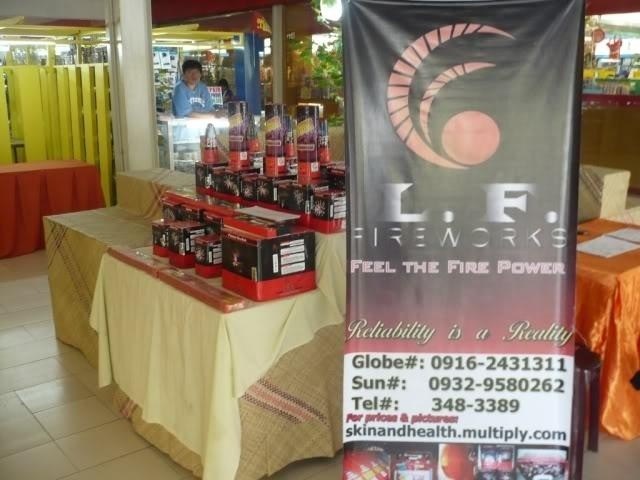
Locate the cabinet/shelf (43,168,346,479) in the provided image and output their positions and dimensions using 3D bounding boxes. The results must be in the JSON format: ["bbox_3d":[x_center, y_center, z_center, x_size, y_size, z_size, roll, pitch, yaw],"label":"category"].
[{"bbox_3d":[-0.837,0.579,3.764,2.226,1.159,1.439,22,30,40],"label":"cabinet/shelf"}]

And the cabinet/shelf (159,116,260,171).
[{"bbox_3d":[-1.351,-1.015,6.025,0.697,0.609,0.346,-4,14,-15],"label":"cabinet/shelf"}]
